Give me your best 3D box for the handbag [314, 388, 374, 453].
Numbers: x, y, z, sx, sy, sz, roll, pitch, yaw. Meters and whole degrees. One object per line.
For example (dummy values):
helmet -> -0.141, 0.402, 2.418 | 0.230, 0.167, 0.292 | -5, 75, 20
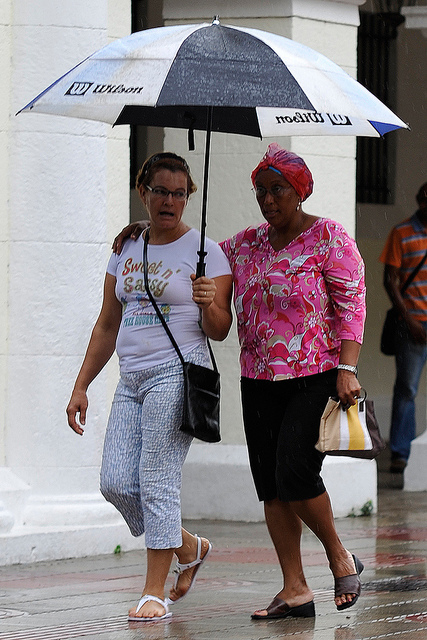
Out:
handbag -> 0.477, 0.374, 3.909 | 0.252, 0.235, 0.089 | 6, -10, -28

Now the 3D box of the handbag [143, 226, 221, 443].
handbag -> -0.086, 0.035, 4.133 | 0.116, 0.944, 0.354 | -20, -23, 31

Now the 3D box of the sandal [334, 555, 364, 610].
sandal -> 0.518, 0.998, 4.046 | 0.103, 0.161, 0.294 | 0, 11, 9

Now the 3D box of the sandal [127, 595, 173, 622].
sandal -> -0.234, 1.067, 3.933 | 0.070, 0.062, 0.186 | -3, -5, 35
